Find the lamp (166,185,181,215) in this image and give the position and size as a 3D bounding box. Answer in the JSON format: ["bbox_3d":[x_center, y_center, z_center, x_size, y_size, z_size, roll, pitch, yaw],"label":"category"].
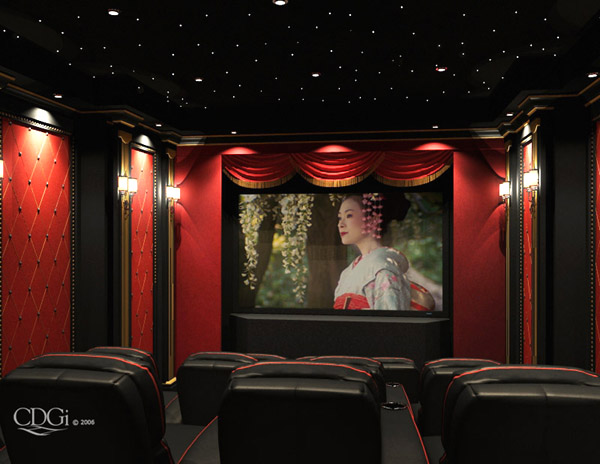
[{"bbox_3d":[-1.547,-0.418,6.232,0.120,0.303,0.240,-1,-5,9],"label":"lamp"}]

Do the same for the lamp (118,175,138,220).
[{"bbox_3d":[-1.787,-0.386,5.336,0.151,0.387,0.326,0,-5,-1],"label":"lamp"}]
